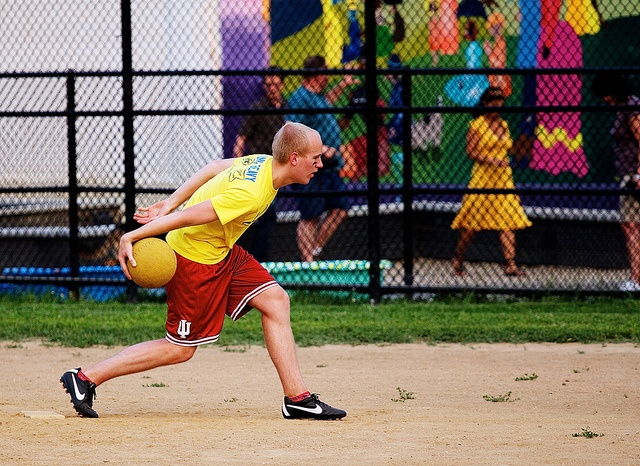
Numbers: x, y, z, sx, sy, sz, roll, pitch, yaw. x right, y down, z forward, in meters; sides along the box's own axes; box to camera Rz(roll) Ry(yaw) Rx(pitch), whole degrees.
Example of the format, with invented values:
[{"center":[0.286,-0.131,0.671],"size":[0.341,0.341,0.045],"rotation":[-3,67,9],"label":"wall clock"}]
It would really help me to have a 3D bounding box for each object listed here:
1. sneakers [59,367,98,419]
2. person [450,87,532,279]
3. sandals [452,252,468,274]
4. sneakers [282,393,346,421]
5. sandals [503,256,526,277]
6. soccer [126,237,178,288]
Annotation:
[{"center":[-1.969,1.272,8.747],"size":[0.215,0.502,0.163],"rotation":[-20,24,2],"label":"sneakers"},{"center":[1.951,-0.588,12.228],"size":[0.849,2.208,1.036],"rotation":[8,16,31],"label":"person"},{"center":[1.602,0.356,12.303],"size":[0.060,0.190,0.130],"rotation":[-18,9,-18],"label":"sandals"},{"center":[-0.076,1.453,8.834],"size":[0.563,0.265,0.204],"rotation":[2,-7,0],"label":"sneakers"},{"center":[2.220,0.404,12.345],"size":[0.295,0.315,0.119],"rotation":[-3,1,-2],"label":"sandals"},{"center":[-1.380,0.213,8.674],"size":[0.394,0.499,0.428],"rotation":[-1,34,-18],"label":"soccer"}]
